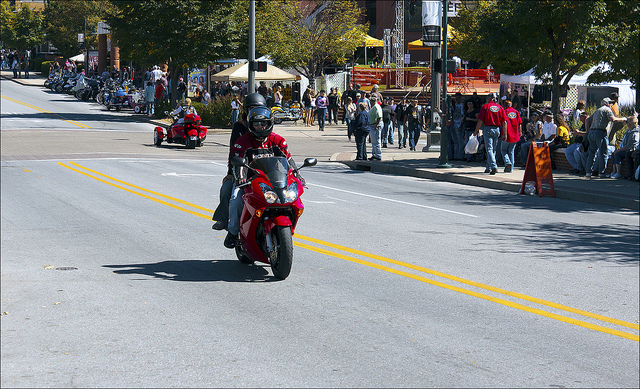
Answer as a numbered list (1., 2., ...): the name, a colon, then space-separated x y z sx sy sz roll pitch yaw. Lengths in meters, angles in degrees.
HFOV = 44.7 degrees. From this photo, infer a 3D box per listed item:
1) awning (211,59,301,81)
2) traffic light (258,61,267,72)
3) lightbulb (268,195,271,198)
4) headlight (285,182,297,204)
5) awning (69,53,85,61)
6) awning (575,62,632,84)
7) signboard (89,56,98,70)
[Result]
1. awning: -3.846 -7.423 47.714 4.305 1.236 3.493 -10 18 -33
2. traffic light: -2.425 -5.531 33.865 0.439 0.388 0.128 3 -1 19
3. lightbulb: -0.899 0.028 14.008 0.046 0.042 0.019 -3 15 -12
4. headlight: -0.497 -0.030 14.129 0.145 0.312 0.345 11 18 34
5. awning: -24.801 -13.882 79.873 1.316 0.793 4.222 -4 15 -15
6. awning: 11.359 -4.860 31.111 2.132 0.919 2.095 1 3 15
7. signboard: -22.973 -13.449 79.127 0.286 1.029 1.112 13 13 43
